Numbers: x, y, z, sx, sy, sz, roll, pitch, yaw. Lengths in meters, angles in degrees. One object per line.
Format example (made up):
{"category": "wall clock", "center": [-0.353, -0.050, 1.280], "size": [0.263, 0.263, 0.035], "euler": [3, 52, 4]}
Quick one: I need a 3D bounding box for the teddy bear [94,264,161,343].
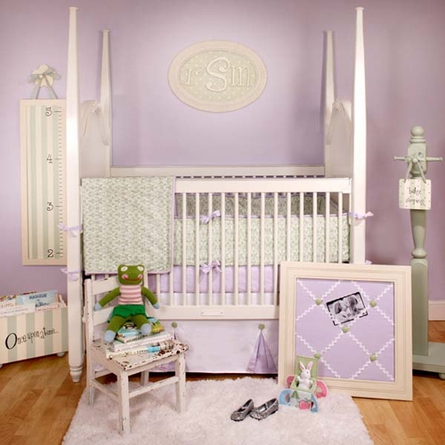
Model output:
{"category": "teddy bear", "center": [-0.425, 0.359, 2.259], "size": [0.293, 0.267, 0.385], "euler": [4, 11, -9]}

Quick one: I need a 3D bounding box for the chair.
{"category": "chair", "center": [-0.387, 0.558, 2.232], "size": [0.395, 0.595, 0.434], "euler": [-1, 4, -23]}

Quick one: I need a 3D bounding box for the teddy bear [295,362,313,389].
{"category": "teddy bear", "center": [0.378, 0.699, 2.261], "size": [0.075, 0.118, 0.048], "euler": [1, -3, 30]}

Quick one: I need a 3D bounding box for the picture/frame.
{"category": "picture/frame", "center": [0.588, 0.536, 2.357], "size": [0.607, 0.637, 0.047], "euler": [0, -3, 6]}
